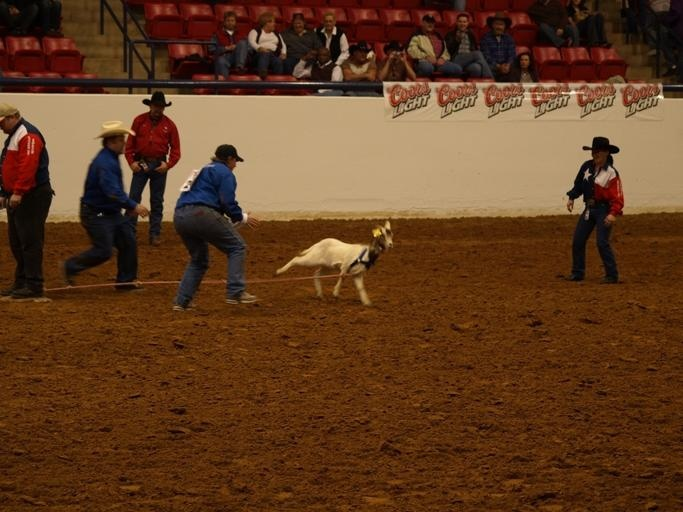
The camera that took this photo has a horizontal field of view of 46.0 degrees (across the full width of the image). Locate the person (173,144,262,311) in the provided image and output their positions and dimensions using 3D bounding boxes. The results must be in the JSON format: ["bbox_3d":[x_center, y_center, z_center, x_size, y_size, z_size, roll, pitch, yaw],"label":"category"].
[{"bbox_3d":[-1.618,-0.349,9.940,1.005,2.003,0.356,-5,11,-7],"label":"person"}]

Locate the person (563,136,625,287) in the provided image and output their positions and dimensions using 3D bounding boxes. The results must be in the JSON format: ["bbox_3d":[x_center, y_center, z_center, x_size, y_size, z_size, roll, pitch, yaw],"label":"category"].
[{"bbox_3d":[3.666,-0.652,11.544,0.618,2.082,0.895,-8,11,-18],"label":"person"}]

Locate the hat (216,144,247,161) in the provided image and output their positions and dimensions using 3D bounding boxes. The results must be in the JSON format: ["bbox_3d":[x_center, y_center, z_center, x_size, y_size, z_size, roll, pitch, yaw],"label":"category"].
[{"bbox_3d":[-1.303,-1.263,10.012,0.479,0.211,0.297,-3,15,-23],"label":"hat"}]

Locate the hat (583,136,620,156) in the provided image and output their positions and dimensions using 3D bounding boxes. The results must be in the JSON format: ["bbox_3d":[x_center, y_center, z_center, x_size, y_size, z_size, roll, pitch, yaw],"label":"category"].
[{"bbox_3d":[3.789,-1.584,11.576,0.346,0.257,0.792,-1,9,15],"label":"hat"}]

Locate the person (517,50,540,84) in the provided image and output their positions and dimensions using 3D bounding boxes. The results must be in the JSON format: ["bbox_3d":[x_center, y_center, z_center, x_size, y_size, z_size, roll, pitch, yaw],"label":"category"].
[{"bbox_3d":[4.244,-4.274,18.228,0.404,0.670,0.822,1,10,27],"label":"person"}]

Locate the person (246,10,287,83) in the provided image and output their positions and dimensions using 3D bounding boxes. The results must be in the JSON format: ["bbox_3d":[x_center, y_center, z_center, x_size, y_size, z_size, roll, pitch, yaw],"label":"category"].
[{"bbox_3d":[-1.725,-4.670,17.840,0.760,1.390,1.100,-1,10,17],"label":"person"}]

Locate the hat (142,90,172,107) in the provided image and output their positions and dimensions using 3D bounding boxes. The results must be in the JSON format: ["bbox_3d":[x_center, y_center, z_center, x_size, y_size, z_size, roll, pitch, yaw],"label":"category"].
[{"bbox_3d":[-3.065,-2.576,13.444,0.597,0.219,0.632,3,-1,-14],"label":"hat"}]

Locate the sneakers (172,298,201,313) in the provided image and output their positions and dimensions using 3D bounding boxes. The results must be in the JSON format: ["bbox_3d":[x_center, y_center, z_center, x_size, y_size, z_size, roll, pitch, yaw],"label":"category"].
[{"bbox_3d":[-1.913,0.613,10.081,0.386,0.117,0.153,-3,-26,-23],"label":"sneakers"}]

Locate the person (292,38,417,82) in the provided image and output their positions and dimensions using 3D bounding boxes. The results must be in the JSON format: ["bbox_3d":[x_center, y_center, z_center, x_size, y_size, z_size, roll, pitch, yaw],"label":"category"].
[{"bbox_3d":[0.351,-4.221,17.722,2.503,0.860,1.027,-2,9,2],"label":"person"}]

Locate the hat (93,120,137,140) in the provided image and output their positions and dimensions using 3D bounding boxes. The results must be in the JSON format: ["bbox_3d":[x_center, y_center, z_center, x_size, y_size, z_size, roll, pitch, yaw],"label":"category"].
[{"bbox_3d":[-2.936,-1.640,10.447,0.372,0.192,0.489,-5,9,-16],"label":"hat"}]

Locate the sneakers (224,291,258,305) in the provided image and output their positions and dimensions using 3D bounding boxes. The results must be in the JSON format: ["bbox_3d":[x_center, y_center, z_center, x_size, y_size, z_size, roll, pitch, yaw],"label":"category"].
[{"bbox_3d":[-1.263,0.541,10.325,0.453,0.162,0.151,-1,6,-9],"label":"sneakers"}]

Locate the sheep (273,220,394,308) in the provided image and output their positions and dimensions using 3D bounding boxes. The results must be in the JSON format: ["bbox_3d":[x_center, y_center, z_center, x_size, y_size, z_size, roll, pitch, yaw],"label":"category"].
[{"bbox_3d":[-0.039,0.092,10.509,1.256,1.096,0.963,-5,10,-9],"label":"sheep"}]

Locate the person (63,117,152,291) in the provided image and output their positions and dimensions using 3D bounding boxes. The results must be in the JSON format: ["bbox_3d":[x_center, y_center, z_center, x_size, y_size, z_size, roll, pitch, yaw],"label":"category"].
[{"bbox_3d":[-3.142,-0.598,10.485,1.037,2.239,0.707,-7,11,-14],"label":"person"}]
